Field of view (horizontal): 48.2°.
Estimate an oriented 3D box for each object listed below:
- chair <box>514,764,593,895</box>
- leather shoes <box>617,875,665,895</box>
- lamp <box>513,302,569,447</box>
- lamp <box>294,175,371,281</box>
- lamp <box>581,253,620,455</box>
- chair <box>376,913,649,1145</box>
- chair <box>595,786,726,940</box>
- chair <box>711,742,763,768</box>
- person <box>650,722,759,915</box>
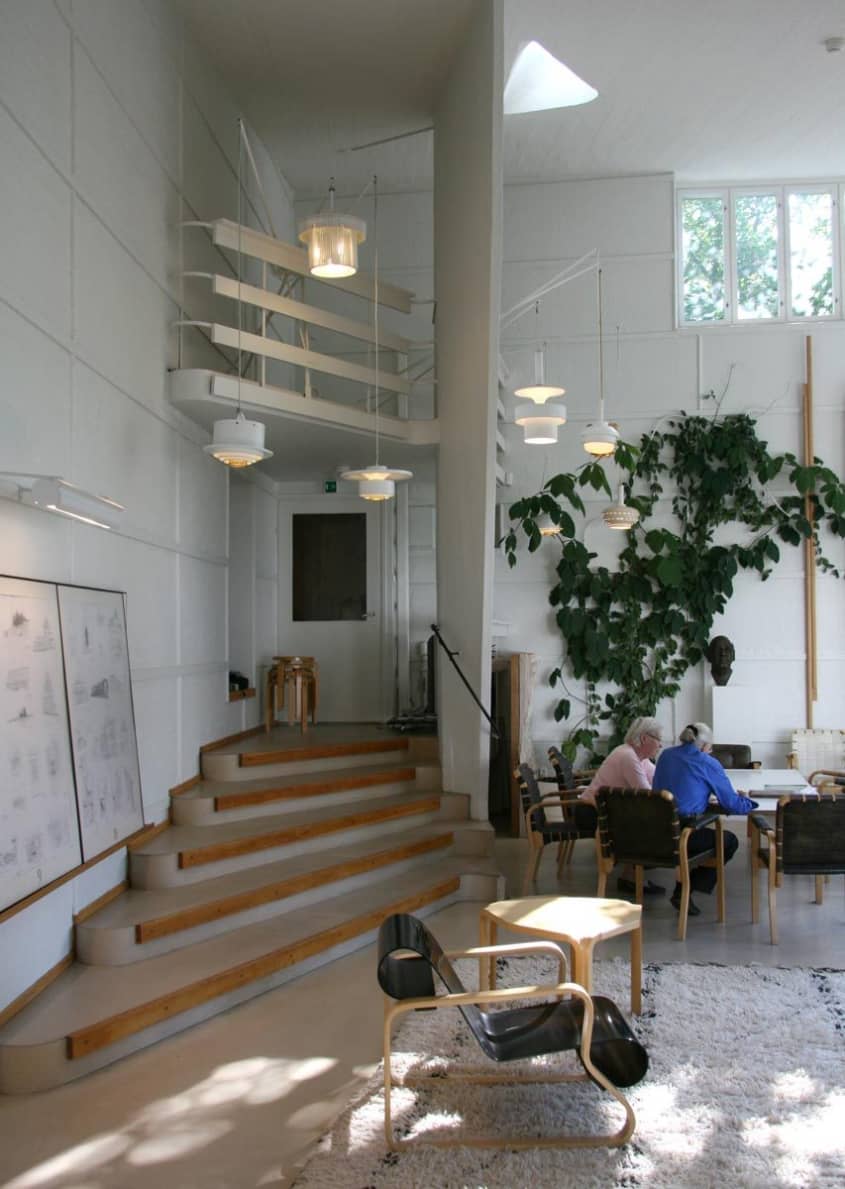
[{"bbox_3d":[0.910,1.417,5.834,0.647,0.739,0.591,-5,-4,-8],"label":"chair"},{"bbox_3d":[1.274,1.703,5.531,0.289,0.117,0.106,-2,-4,11],"label":"leather shoes"},{"bbox_3d":[0.640,-1.085,5.154,0.271,0.478,0.261,-3,3,-27],"label":"lamp"},{"bbox_3d":[-0.469,-1.800,4.871,0.297,0.288,0.344,3,-3,-43],"label":"lamp"},{"bbox_3d":[1.140,-1.509,6.025,0.240,1.193,0.249,-1,-3,21],"label":"lamp"},{"bbox_3d":[0.269,1.312,2.907,0.754,0.555,0.581,-1,-7,-2],"label":"chair"},{"bbox_3d":[1.229,1.349,4.899,0.655,0.754,0.665,-1,-4,3],"label":"chair"},{"bbox_3d":[2.464,1.269,7.442,0.272,0.356,0.275,0,-12,1],"label":"chair"},{"bbox_3d":[1.500,1.204,5.150,0.523,0.985,0.457,8,-6,-28],"label":"person"}]
